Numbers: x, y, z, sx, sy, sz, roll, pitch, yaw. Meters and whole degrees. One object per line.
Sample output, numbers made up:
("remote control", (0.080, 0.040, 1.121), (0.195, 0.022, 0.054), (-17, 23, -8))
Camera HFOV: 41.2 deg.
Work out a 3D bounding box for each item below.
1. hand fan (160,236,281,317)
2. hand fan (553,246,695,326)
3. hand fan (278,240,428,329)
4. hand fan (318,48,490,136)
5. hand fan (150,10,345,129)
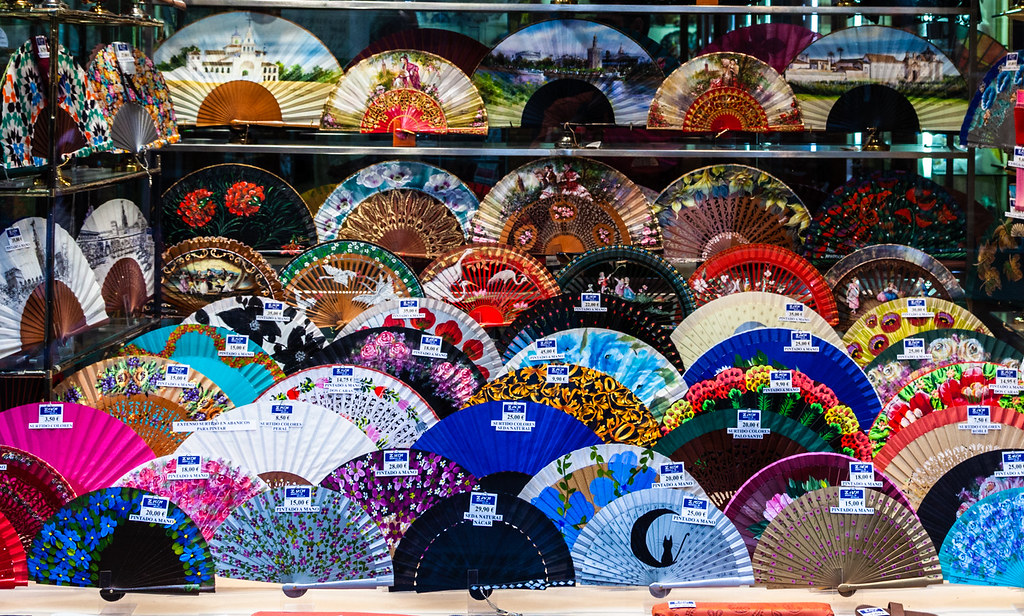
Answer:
("hand fan", (-1.204, -0.126, 5.797), (0.353, 0.221, 0.050), (5, 16, 3))
("hand fan", (0.497, -0.064, 5.769), (0.522, 0.502, 0.023), (-2, 40, 14))
("hand fan", (-0.642, -0.090, 5.688), (0.390, 0.355, 0.042), (2, 6, 0))
("hand fan", (-0.453, -0.955, 6.070), (0.775, 0.366, 0.047), (-6, 11, -26))
("hand fan", (-1.137, -1.038, 6.016), (0.648, 0.373, 0.026), (-1, 15, 0))
